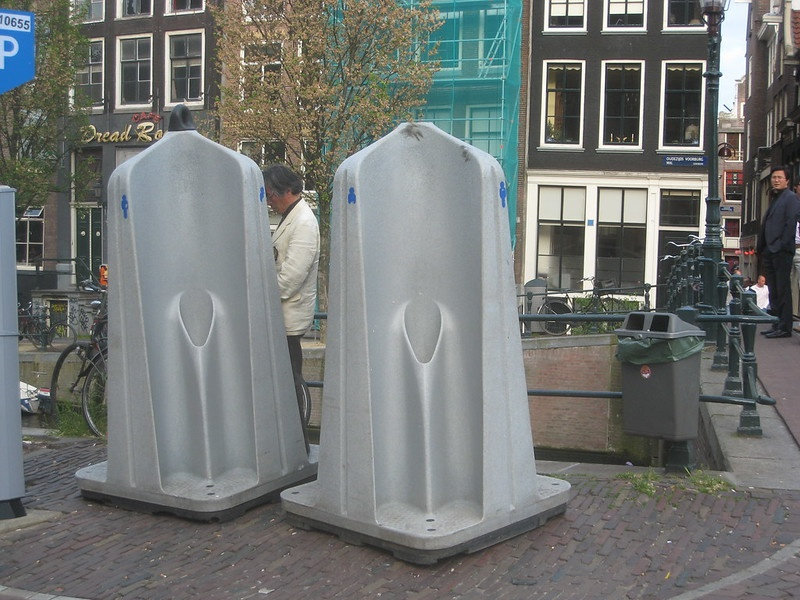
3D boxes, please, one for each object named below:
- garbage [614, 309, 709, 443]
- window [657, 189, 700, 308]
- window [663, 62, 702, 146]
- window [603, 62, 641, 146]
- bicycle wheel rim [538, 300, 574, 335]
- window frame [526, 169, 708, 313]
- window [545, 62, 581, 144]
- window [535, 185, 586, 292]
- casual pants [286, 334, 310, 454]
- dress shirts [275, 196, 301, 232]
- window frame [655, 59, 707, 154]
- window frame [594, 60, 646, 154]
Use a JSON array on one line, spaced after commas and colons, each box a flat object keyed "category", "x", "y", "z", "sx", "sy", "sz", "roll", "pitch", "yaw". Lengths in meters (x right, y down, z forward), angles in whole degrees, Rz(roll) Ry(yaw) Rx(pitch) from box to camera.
[{"category": "garbage", "x": 2.457, "y": 0.696, "z": 10.746, "sx": 0.765, "sy": 1.154, "sz": 0.741, "roll": -3, "pitch": 2, "yaw": -39}, {"category": "window", "x": 7.654, "y": -1.943, "z": 31.104, "sx": 1.164, "sy": 2.131, "sz": 0.833, "roll": 0, "pitch": 1, "yaw": 15}, {"category": "window", "x": 7.931, "y": -5.349, "z": 31.773, "sx": 1.102, "sy": 2.542, "sz": 0.110, "roll": 4, "pitch": 25, "yaw": 20}, {"category": "window", "x": 6.295, "y": -5.458, "z": 31.996, "sx": 1.080, "sy": 2.284, "sz": 0.094, "roll": 1, "pitch": -1, "yaw": 3}, {"category": "bicycle wheel rim", "x": 2.789, "y": 0.334, "z": 20.256, "sx": 0.815, "sy": 0.464, "sz": 0.360, "roll": -9, "pitch": -21, "yaw": -29}, {"category": "window frame", "x": 5.499, "y": -1.442, "z": 28.305, "sx": 3.714, "sy": 3.410, "sz": 1.361, "roll": 2, "pitch": -6, "yaw": 5}, {"category": "window", "x": 4.673, "y": -5.483, "z": 32.303, "sx": 1.108, "sy": 2.350, "sz": 0.094, "roll": 0, "pitch": 6, "yaw": -4}, {"category": "window", "x": 4.495, "y": -1.629, "z": 31.551, "sx": 1.380, "sy": 3.211, "sz": 0.094, "roll": 3, "pitch": 29, "yaw": 11}, {"category": "casual pants", "x": -0.942, "y": 0.888, "z": 10.807, "sx": 0.190, "sy": 1.092, "sz": 0.124, "roll": -2, "pitch": -12, "yaw": -24}, {"category": "dress shirts", "x": -1.050, "y": -0.842, "z": 10.911, "sx": 0.215, "sy": 0.289, "sz": 0.168, "roll": 12, "pitch": 14, "yaw": -22}, {"category": "window frame", "x": 7.943, "y": -5.301, "z": 31.744, "sx": 1.091, "sy": 2.390, "sz": 0.094, "roll": 3, "pitch": 31, "yaw": 16}, {"category": "window frame", "x": 6.286, "y": -5.481, "z": 31.999, "sx": 1.164, "sy": 2.304, "sz": 0.109, "roll": 0, "pitch": 4, "yaw": -7}]
